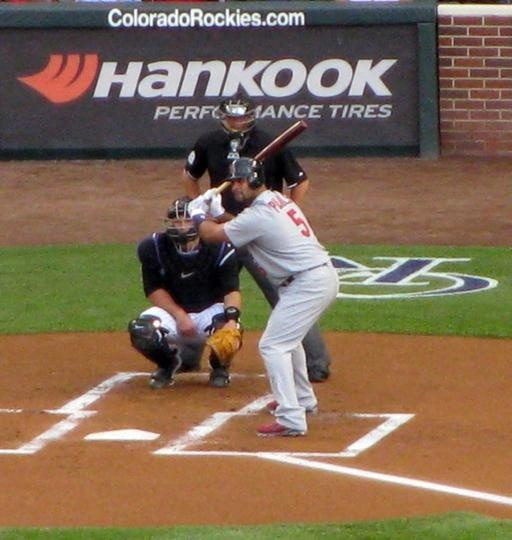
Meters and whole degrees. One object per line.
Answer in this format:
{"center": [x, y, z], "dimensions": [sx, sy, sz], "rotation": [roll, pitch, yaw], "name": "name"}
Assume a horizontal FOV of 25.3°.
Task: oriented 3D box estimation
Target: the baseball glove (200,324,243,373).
{"center": [-0.233, 0.541, 7.873], "dimensions": [0.300, 0.251, 0.199], "rotation": [-17, 53, -33], "name": "baseball glove"}

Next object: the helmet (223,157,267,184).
{"center": [-0.062, -0.595, 6.962], "dimensions": [0.224, 0.179, 0.227], "rotation": [-1, 3, -1], "name": "helmet"}

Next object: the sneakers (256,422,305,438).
{"center": [0.157, 0.965, 6.970], "dimensions": [0.283, 0.098, 0.102], "rotation": [4, 6, -1], "name": "sneakers"}

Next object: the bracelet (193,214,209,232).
{"center": [-0.334, -0.300, 7.209], "dimensions": [0.090, 0.096, 0.097], "rotation": [-17, -44, 28], "name": "bracelet"}

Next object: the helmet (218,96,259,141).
{"center": [-0.105, -1.100, 8.041], "dimensions": [0.337, 0.274, 0.355], "rotation": [5, 21, 17], "name": "helmet"}

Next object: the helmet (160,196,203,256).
{"center": [-0.492, -0.292, 7.809], "dimensions": [0.362, 0.332, 0.391], "rotation": [-1, 9, 3], "name": "helmet"}

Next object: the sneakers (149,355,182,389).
{"center": [-0.615, 0.719, 8.069], "dimensions": [0.131, 0.115, 0.321], "rotation": [7, 27, 18], "name": "sneakers"}

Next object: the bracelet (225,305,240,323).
{"center": [-0.153, 0.303, 8.019], "dimensions": [0.113, 0.104, 0.106], "rotation": [-2, -7, 0], "name": "bracelet"}

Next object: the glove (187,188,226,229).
{"center": [-0.321, -0.405, 7.279], "dimensions": [0.251, 0.112, 0.251], "rotation": [-34, -16, 20], "name": "glove"}

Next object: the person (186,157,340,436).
{"center": [0.072, 0.154, 7.095], "dimensions": [0.839, 1.692, 0.557], "rotation": [0, 4, 12], "name": "person"}

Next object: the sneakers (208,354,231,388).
{"center": [-0.249, 0.716, 7.972], "dimensions": [0.116, 0.109, 0.294], "rotation": [0, 7, -7], "name": "sneakers"}
